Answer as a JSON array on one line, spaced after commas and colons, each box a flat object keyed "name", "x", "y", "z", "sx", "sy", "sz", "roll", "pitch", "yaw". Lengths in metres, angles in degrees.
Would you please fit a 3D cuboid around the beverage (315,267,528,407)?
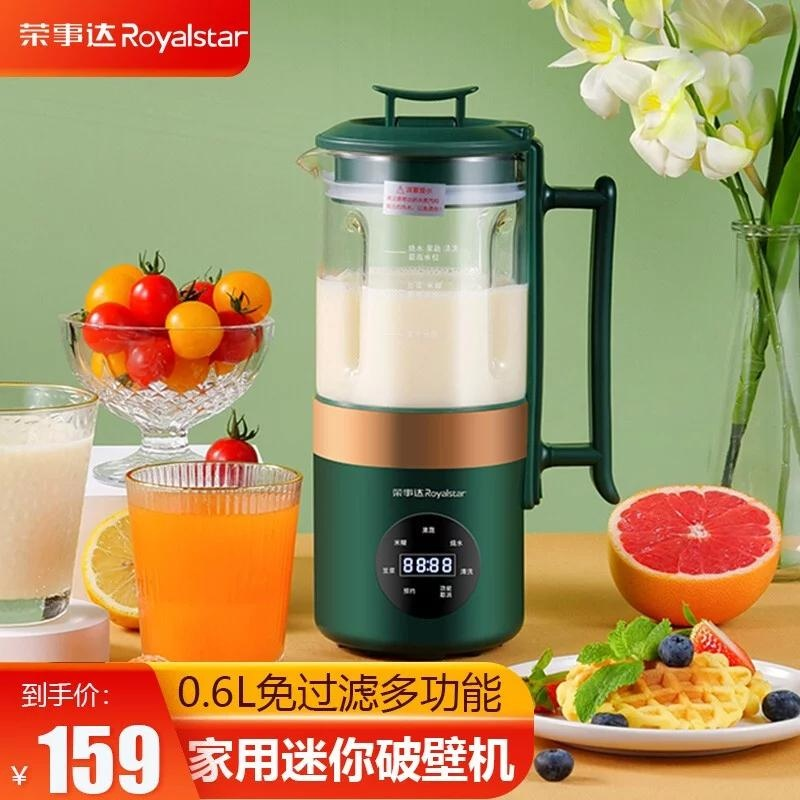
[{"name": "beverage", "x": -0.003, "y": -0.020, "z": 0.627, "sx": 0.139, "sy": 0.091, "sz": 0.148, "roll": 2, "pitch": -19, "yaw": -10}]

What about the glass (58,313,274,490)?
[{"name": "glass", "x": -0.216, "y": -0.008, "z": 0.797, "sx": 0.161, "sy": 0.136, "sz": 0.160, "roll": 0, "pitch": 0, "yaw": -2}]
